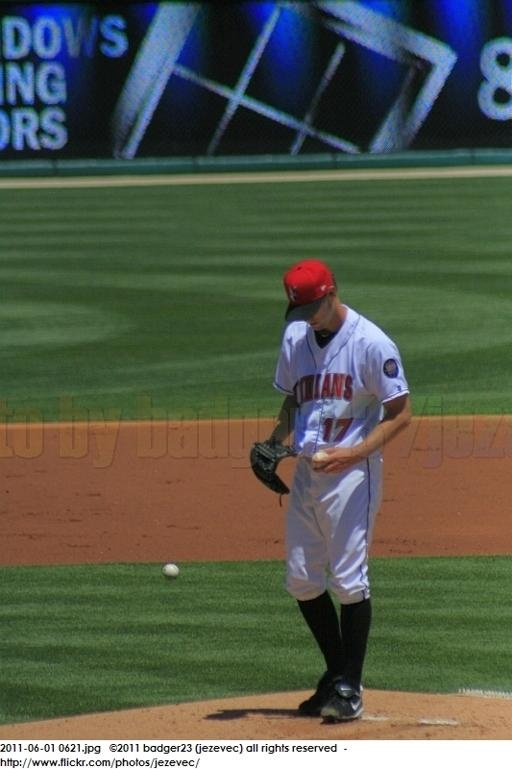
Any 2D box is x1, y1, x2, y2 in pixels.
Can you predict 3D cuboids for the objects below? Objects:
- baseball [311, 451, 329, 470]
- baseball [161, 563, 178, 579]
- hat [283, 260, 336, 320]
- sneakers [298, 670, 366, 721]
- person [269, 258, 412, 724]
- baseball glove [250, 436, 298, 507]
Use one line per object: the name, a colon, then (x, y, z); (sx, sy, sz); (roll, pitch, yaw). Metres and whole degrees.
baseball: (0.238, 0.280, 5.600); (0.071, 0.062, 0.049); (3, 1, 23)
baseball: (-0.402, 0.873, 7.184); (0.063, 0.065, 0.042); (0, -35, -1)
hat: (0.202, -0.348, 5.675); (0.188, 0.185, 0.112); (2, 1, 2)
sneakers: (0.273, 1.177, 5.724); (0.249, 0.152, 0.254); (3, 0, 8)
person: (0.293, 0.402, 5.767); (0.564, 1.437, 0.397); (2, 1, 15)
baseball glove: (0.067, 0.318, 5.933); (0.197, 0.213, 0.082); (16, -26, -14)
